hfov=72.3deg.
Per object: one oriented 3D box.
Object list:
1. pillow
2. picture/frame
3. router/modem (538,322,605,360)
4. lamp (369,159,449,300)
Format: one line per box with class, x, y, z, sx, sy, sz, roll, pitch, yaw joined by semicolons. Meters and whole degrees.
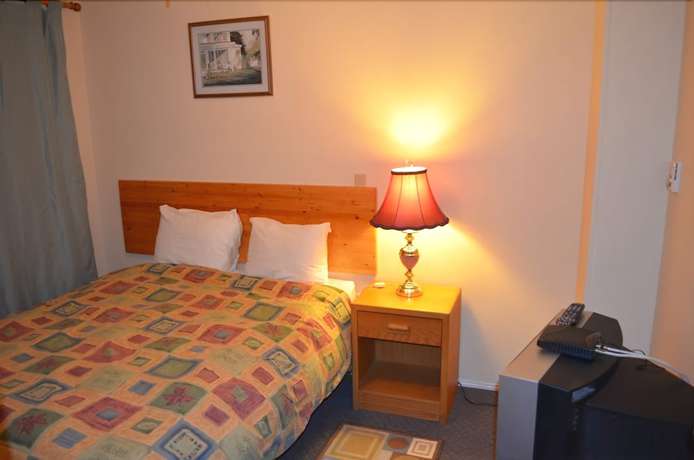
pillow;-0.822;0.104;3.652;1.433;0.451;0.316;4;16;15
picture/frame;-0.894;-1.303;3.616;0.664;0.558;0.018;0;8;10
router/modem;0.942;0.470;2.025;0.169;0.046;0.143;8;28;33
lamp;0.437;-0.003;3.303;0.506;0.863;0.388;2;16;10
